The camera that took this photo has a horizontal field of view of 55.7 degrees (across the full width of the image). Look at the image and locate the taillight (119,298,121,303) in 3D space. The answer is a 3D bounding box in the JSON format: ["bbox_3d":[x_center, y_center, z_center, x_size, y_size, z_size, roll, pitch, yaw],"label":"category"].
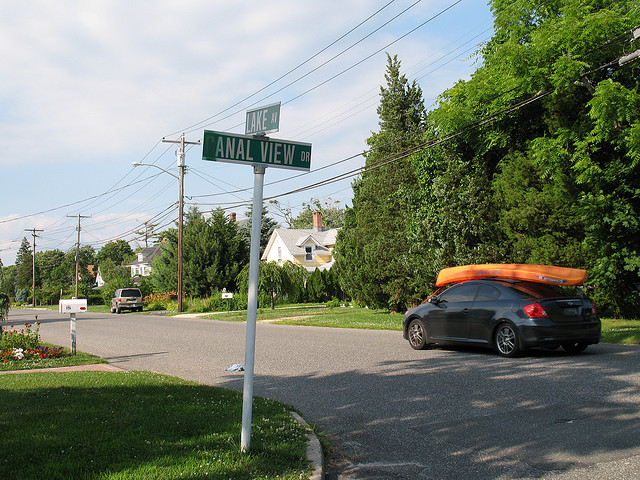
[{"bbox_3d":[-16.380,4.990,49.892,0.104,0.318,0.133,2,-9,-20],"label":"taillight"}]

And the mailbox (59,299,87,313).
[{"bbox_3d":[-6.944,1.841,17.152,0.657,0.379,0.969,2,-11,-19],"label":"mailbox"}]

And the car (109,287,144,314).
[{"bbox_3d":[-16.146,5.080,51.019,2.070,2.174,2.352,6,-11,-36],"label":"car"}]

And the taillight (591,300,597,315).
[{"bbox_3d":[6.509,1.625,14.466,0.087,0.313,0.477,-5,-10,27],"label":"taillight"}]

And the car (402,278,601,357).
[{"bbox_3d":[4.353,1.903,15.322,1.953,1.540,4.015,4,-5,-37],"label":"car"}]

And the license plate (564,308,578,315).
[{"bbox_3d":[5.772,1.649,13.969,0.180,0.181,0.050,2,-11,-4],"label":"license plate"}]

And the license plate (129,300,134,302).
[{"bbox_3d":[-15.536,5.050,50.224,0.086,0.168,0.376,-9,-12,43],"label":"license plate"}]
